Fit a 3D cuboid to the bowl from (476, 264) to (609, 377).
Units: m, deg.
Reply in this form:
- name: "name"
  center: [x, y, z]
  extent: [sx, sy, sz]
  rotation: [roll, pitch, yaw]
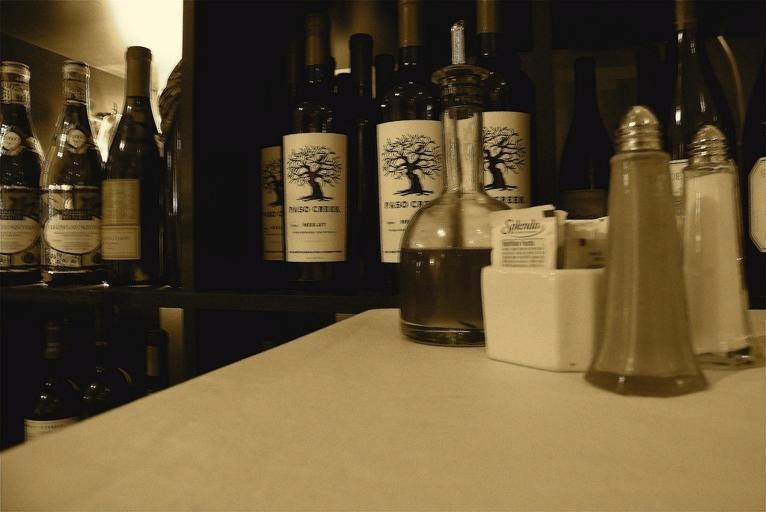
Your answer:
- name: "bowl"
  center: [0.194, 0.055, 0.795]
  extent: [0.111, 0.108, 0.156]
  rotation: [0, 1, -42]

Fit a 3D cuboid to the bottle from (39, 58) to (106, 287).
- name: "bottle"
  center: [-0.567, -0.149, 1.246]
  extent: [0.116, 0.372, 0.130]
  rotation: [-5, 2, -21]
